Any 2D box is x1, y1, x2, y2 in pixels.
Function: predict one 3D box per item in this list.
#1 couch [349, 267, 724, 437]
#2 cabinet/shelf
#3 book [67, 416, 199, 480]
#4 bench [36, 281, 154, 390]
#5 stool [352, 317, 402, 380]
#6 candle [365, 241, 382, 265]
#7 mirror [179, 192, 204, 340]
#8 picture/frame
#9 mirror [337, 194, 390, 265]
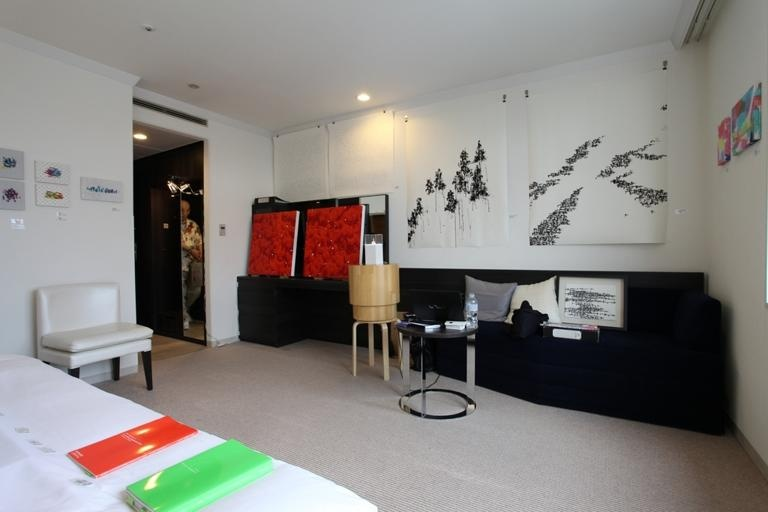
[{"bbox_3d":[1.893,0.929,5.849,1.077,1.431,3.657,0,-2,-42],"label":"couch"},{"bbox_3d":[-1.179,0.338,7.061,2.048,1.952,0.713,1,3,23],"label":"cabinet/shelf"},{"bbox_3d":[-1.600,1.211,3.098,0.342,0.048,0.457,5,7,41],"label":"book"},{"bbox_3d":[-3.170,0.930,5.316,1.033,1.185,1.047,2,4,18],"label":"bench"},{"bbox_3d":[-0.223,1.104,5.984,0.544,0.586,0.552,1,3,18],"label":"stool"},{"bbox_3d":[-0.114,-0.041,5.811,0.193,0.252,0.186,1,2,-5],"label":"candle"},{"bbox_3d":[-2.934,0.167,7.450,0.523,2.078,0.139,2,2,30],"label":"mirror"},{"bbox_3d":[2.297,0.522,5.329,0.602,0.566,0.057,0,-11,29],"label":"picture/frame"},{"bbox_3d":[-0.259,-0.328,6.575,0.980,1.143,0.078,1,1,35],"label":"mirror"}]
